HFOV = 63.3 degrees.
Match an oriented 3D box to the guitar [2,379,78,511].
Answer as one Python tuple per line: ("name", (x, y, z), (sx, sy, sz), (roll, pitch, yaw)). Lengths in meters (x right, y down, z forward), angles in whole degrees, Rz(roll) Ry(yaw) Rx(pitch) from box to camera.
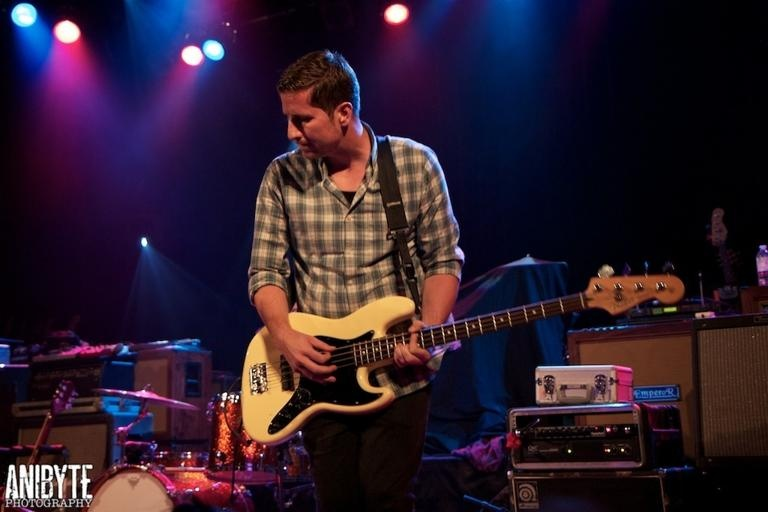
("guitar", (-3.728, 1.999, 6.706), (0.669, 1.311, 0.630), (-12, -15, 37))

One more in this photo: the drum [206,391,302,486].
("drum", (-1.533, 2.046, 6.990), (0.933, 0.914, 0.830), (15, -35, -27))

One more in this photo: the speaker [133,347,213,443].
("speaker", (-2.887, 1.963, 8.580), (0.902, 1.253, 0.919), (0, -15, -15))

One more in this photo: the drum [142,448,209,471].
("drum", (-2.265, 2.207, 6.754), (1.102, 0.158, 0.460), (-1, -21, -3))

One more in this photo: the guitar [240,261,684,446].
("guitar", (0.517, 0.658, 4.049), (3.242, 1.118, 0.411), (-12, -21, 16))
